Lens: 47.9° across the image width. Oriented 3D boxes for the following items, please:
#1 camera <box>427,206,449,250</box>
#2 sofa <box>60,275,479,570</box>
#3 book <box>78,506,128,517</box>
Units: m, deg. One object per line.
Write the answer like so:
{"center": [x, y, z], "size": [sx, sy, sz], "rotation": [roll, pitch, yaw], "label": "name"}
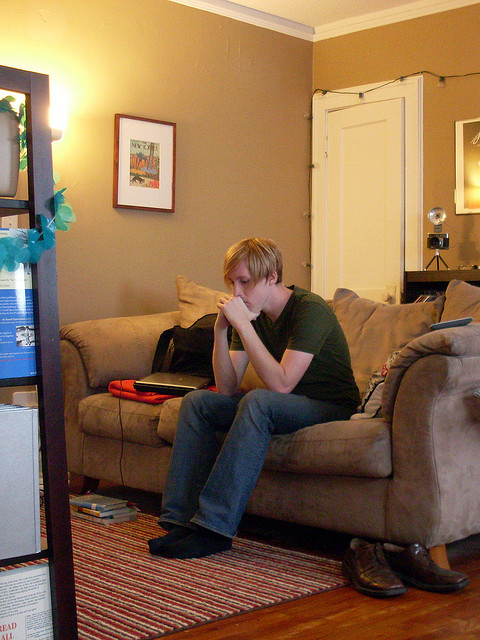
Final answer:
{"center": [1.427, -0.666, 3.909], "size": [0.146, 0.338, 0.227], "rotation": [-2, -7, 22], "label": "camera"}
{"center": [0.090, 0.226, 2.293], "size": [1.933, 1.162, 0.900], "rotation": [-6, -9, 43], "label": "sofa"}
{"center": [-0.545, 0.754, 2.144], "size": [0.073, 0.014, 0.102], "rotation": [4, -6, -36], "label": "book"}
